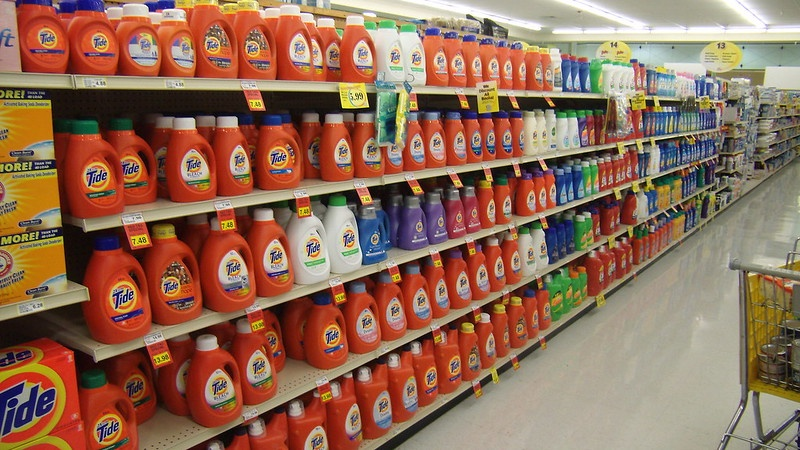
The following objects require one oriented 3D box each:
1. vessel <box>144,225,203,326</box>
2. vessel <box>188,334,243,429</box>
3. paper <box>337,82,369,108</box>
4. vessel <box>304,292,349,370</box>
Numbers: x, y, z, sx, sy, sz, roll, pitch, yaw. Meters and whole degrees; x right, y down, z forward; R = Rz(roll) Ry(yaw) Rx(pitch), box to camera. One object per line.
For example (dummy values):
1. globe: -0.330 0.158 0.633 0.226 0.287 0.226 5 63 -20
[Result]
1. vessel: -1.200 0.265 2.619 0.251 0.498 0.194 -5 19 -14
2. vessel: -1.033 0.875 2.760 0.263 0.486 0.164 -5 19 -12
3. paper: -0.279 -0.795 3.022 0.196 0.126 0.019 -12 12 -40
4. vessel: -0.472 0.684 3.188 0.238 0.445 0.224 9 21 27
